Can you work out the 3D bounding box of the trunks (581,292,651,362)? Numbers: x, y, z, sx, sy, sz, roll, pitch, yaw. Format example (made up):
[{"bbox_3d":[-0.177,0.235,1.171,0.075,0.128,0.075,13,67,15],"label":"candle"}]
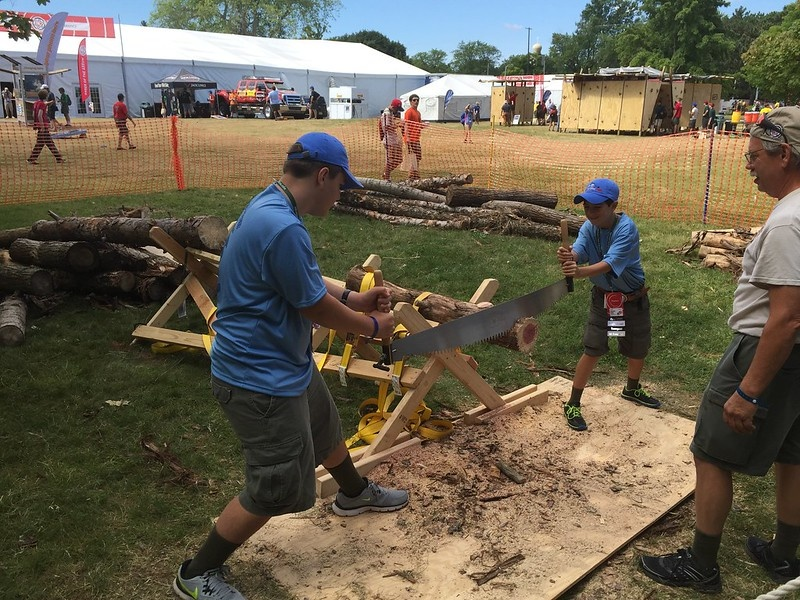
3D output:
[{"bbox_3d":[2.092,0.169,6.557,0.632,0.809,0.297,0,28,9],"label":"trunks"}]

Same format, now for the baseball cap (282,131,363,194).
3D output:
[{"bbox_3d":[-0.507,-0.910,4.555,0.430,0.247,0.293,15,8,-22],"label":"baseball cap"}]

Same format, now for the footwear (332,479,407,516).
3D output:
[{"bbox_3d":[-0.237,1.569,5.466,0.603,0.284,0.237,-3,3,-9],"label":"footwear"}]

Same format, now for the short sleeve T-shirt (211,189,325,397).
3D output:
[{"bbox_3d":[-0.857,-0.026,4.404,0.712,1.258,0.444,-6,18,-18],"label":"short sleeve T-shirt"}]

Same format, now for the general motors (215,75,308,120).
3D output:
[{"bbox_3d":[-7.073,-10.161,35.048,4.289,1.873,2.197,7,23,19],"label":"general motors"}]

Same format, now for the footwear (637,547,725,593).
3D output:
[{"bbox_3d":[1.981,1.912,4.840,0.524,0.284,0.242,7,7,22],"label":"footwear"}]

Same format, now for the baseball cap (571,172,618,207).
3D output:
[{"bbox_3d":[1.781,-0.986,6.201,0.354,0.203,0.235,3,7,-20],"label":"baseball cap"}]
